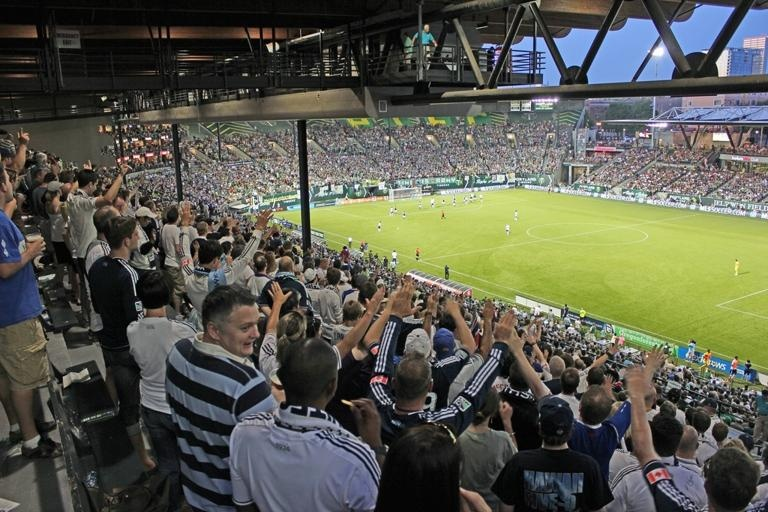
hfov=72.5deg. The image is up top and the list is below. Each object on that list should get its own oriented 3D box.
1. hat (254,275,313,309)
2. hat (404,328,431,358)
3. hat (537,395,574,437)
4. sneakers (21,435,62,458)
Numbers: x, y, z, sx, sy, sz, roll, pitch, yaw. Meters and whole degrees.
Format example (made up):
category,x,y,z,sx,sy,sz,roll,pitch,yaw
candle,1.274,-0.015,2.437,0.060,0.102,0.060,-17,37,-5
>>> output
category,x,y,z,sx,sy,sz,roll,pitch,yaw
hat,-1.647,0.585,8.333,0.602,0.493,0.298,1,33,2
hat,0.421,1.089,6.412,0.243,0.245,0.399,2,20,6
hat,1.666,1.560,5.076,0.317,0.308,0.277,3,12,11
sneakers,-4.206,2.369,6.440,0.434,0.184,0.237,2,15,-27
